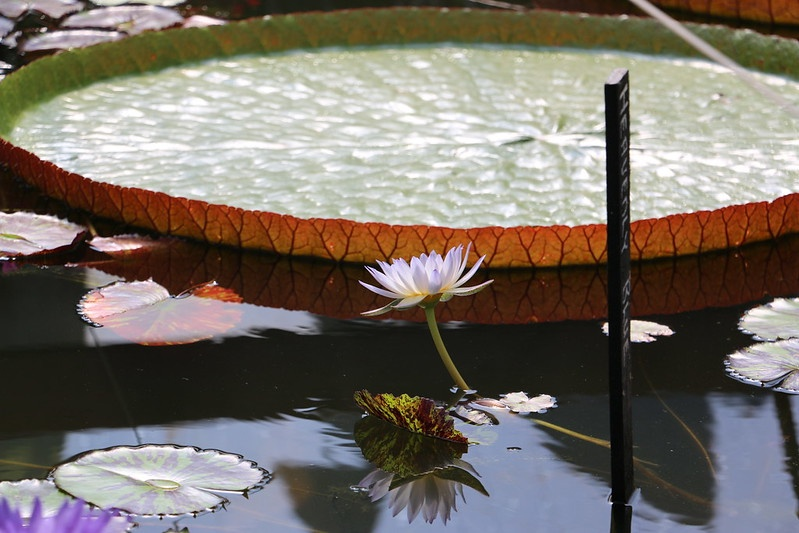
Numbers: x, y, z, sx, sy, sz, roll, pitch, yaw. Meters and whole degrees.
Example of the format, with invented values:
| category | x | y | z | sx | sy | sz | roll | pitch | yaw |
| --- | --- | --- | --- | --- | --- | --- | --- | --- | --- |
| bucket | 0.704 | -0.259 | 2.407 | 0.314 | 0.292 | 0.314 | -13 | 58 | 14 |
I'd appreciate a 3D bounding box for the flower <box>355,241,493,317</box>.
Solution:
| category | x | y | z | sx | sy | sz | roll | pitch | yaw |
| --- | --- | --- | --- | --- | --- | --- | --- | --- | --- |
| flower | 0.045 | 0.035 | 2.039 | 0.219 | 0.075 | 0.204 | -1 | -21 | -31 |
